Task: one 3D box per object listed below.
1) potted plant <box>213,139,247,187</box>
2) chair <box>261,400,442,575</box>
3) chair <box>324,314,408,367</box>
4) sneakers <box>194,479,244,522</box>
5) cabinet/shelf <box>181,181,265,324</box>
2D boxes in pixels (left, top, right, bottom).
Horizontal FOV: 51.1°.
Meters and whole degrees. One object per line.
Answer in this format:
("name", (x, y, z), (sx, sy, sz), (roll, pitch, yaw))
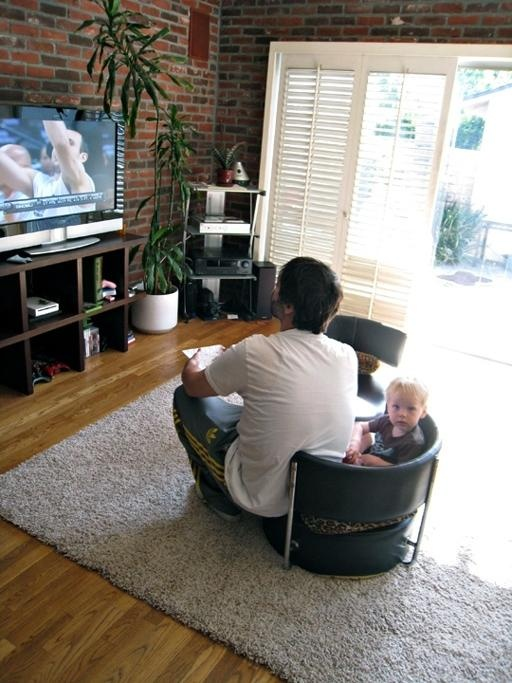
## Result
("potted plant", (-0.209, -1.325, 4.039), (0.191, 0.287, 0.227), (18, 21, 28))
("chair", (0.232, 0.486, 1.658), (0.491, 0.372, 0.488), (-13, 21, -42))
("chair", (0.559, -0.046, 2.730), (0.176, 0.190, 0.520), (-9, 24, -40))
("sneakers", (-0.159, 0.546, 1.947), (0.081, 0.099, 0.235), (-20, 27, -37))
("cabinet/shelf", (-0.298, -0.724, 4.303), (0.848, 1.306, 0.981), (-1, 19, -9))
